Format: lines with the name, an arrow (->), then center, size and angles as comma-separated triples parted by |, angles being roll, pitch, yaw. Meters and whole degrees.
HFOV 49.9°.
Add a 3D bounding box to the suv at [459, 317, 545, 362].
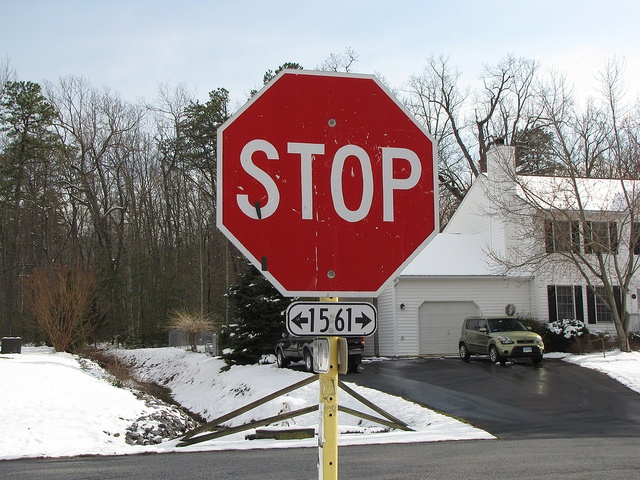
suv -> 7.925, 4.311, 30.115 | 1.789, 1.861, 3.310 | 3, -13, -22
